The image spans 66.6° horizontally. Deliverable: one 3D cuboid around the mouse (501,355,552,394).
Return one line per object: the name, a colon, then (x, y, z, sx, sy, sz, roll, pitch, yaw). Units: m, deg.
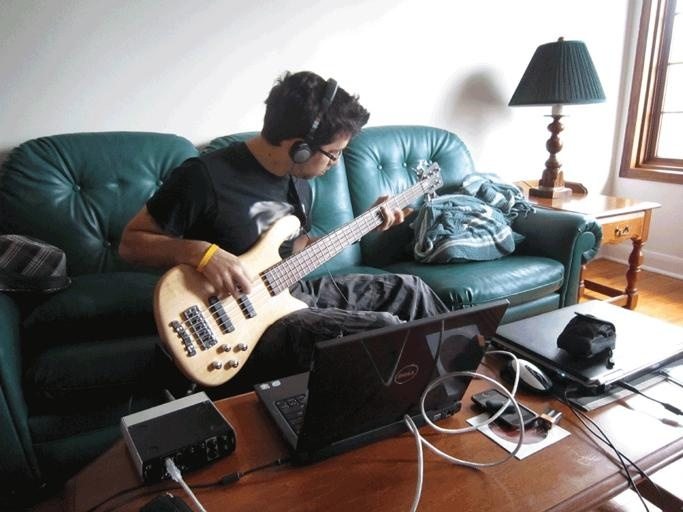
mouse: (0.549, 0.340, 1.466, 0.083, 0.061, 0.137, -17, 4, -14)

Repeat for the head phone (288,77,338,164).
head phone: (-0.073, -0.426, 1.687, 0.061, 0.246, 0.176, 32, 12, 0)

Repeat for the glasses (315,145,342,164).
glasses: (-0.050, -0.341, 1.727, 0.054, 0.014, 0.052, 29, 12, 22)

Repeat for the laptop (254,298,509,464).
laptop: (0.067, 0.258, 1.390, 0.598, 0.395, 0.426, -10, 28, -28)

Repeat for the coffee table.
coffee table: (1.553, -0.009, 3.013, 0.572, 0.556, 0.551, 10, 1, -44)

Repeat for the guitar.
guitar: (-0.168, 0.058, 1.723, 0.881, 0.282, 0.126, -35, 19, -29)

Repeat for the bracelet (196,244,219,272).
bracelet: (-0.415, 0.005, 1.613, 0.034, 0.072, 0.076, 13, 24, 36)
